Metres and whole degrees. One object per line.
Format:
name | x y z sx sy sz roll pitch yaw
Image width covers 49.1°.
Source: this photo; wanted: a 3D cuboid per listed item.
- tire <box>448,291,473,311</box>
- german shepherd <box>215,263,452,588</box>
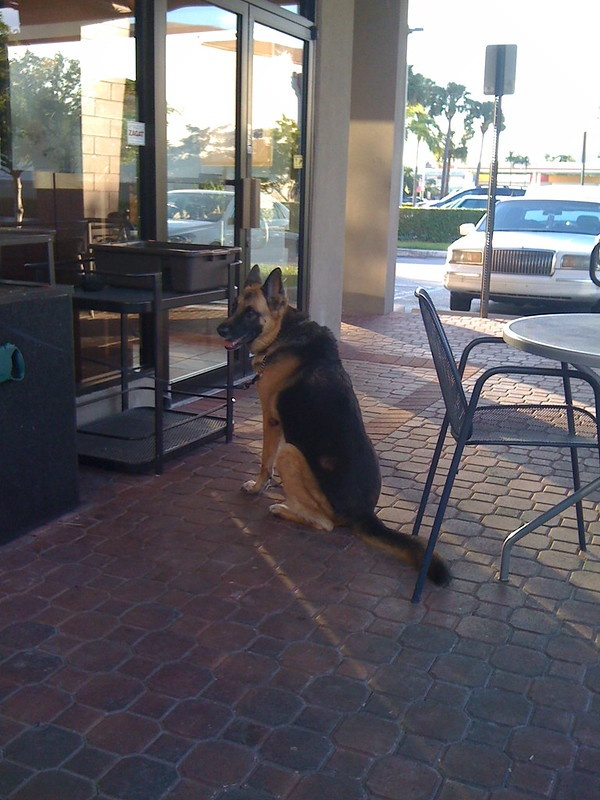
tire | 2.850 -1.786 11.661 0.372 0.406 0.350 -9 18 -34
german shepherd | 0.217 0.090 3.385 0.592 1.237 1.902 -8 27 -32
